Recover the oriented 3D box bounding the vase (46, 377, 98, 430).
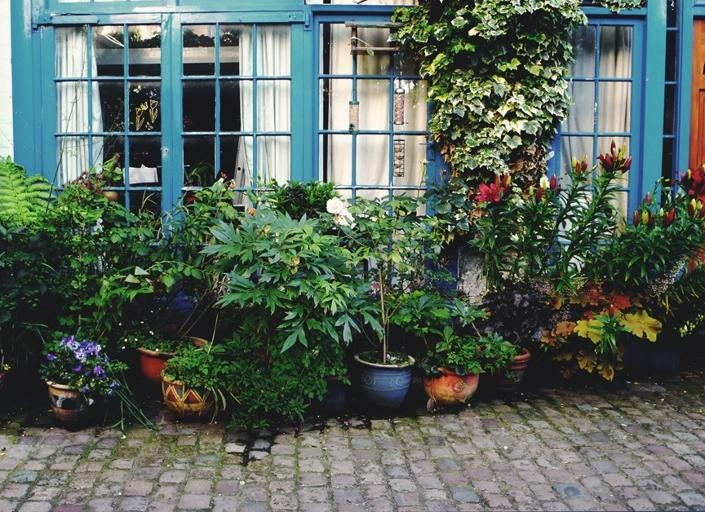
[{"bbox_3d":[-2.183,1.122,5.445,0.336,0.287,0.358,3,-2,0],"label":"vase"}]

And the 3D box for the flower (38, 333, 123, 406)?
[{"bbox_3d":[-2.089,0.879,5.346,0.629,0.520,0.330,-1,10,-14],"label":"flower"}]

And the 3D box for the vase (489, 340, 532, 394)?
[{"bbox_3d":[1.363,0.970,5.997,0.345,0.288,0.365,3,8,25],"label":"vase"}]

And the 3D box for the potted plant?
[{"bbox_3d":[-0.270,0.352,5.729,2.586,1.816,1.233,-2,10,-18],"label":"potted plant"}]
